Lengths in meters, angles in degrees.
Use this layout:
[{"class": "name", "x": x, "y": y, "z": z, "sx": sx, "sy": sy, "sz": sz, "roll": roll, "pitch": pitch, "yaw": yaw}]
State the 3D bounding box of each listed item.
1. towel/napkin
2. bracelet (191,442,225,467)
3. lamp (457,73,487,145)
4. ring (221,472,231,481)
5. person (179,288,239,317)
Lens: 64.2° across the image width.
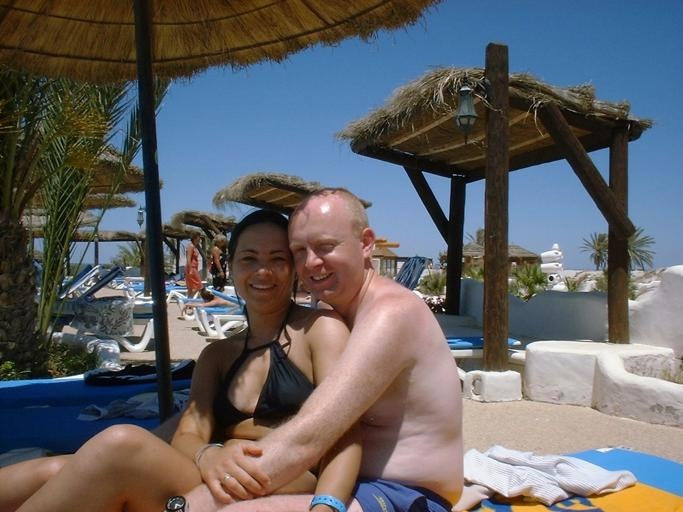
[{"class": "towel/napkin", "x": 1.311, "y": 1.416, "z": 3.570, "sx": 1.145, "sy": 0.246, "sz": 0.491, "roll": -1, "pitch": -6, "yaw": -2}, {"class": "bracelet", "x": -0.645, "y": 0.948, "z": 2.629, "sx": 0.133, "sy": 0.078, "sz": 0.124, "roll": 1, "pitch": -6, "yaw": -19}, {"class": "lamp", "x": 1.621, "y": -1.789, "z": 6.774, "sx": 0.375, "sy": 0.674, "sz": 0.958, "roll": -2, "pitch": -5, "yaw": 14}, {"class": "ring", "x": -0.520, "y": 0.991, "z": 2.454, "sx": 0.022, "sy": 0.031, "sz": 0.030, "roll": 0, "pitch": -8, "yaw": 2}, {"class": "person", "x": -2.660, "y": 0.954, "z": 11.160, "sx": 0.940, "sy": 0.446, "sz": 0.953, "roll": 3, "pitch": -5, "yaw": -22}]
